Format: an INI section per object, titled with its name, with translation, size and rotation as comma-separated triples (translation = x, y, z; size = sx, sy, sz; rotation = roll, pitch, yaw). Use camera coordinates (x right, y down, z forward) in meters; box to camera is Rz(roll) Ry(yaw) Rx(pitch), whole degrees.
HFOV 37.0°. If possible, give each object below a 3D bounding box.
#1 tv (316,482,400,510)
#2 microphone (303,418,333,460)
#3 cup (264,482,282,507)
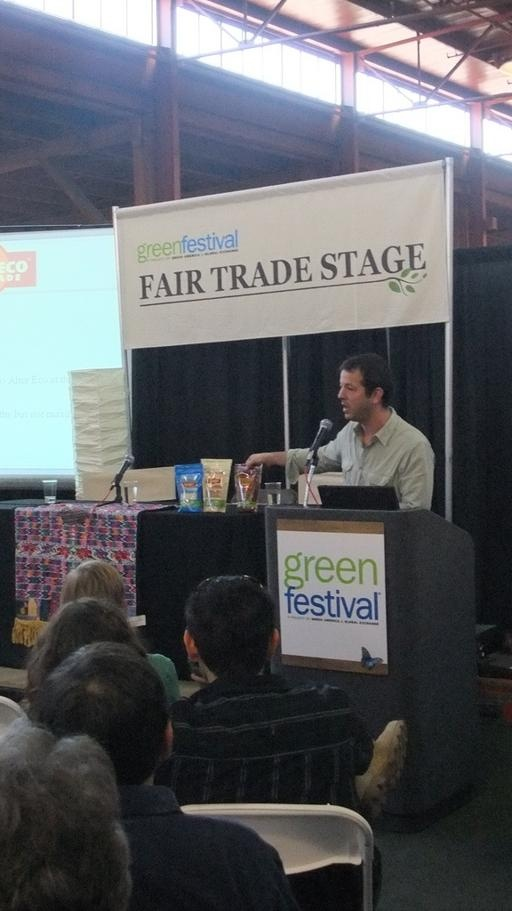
[tv]
translation = 0.294, 0.126, 2.314
size = 0.258, 0.076, 0.071
rotation = -2, 5, 35
[microphone]
translation = 0.302, -0.085, 3.786
size = 0.089, 0.065, 0.313
rotation = 29, 30, -6
[cup]
translation = 0.057, 0.155, 3.043
size = 0.074, 0.093, 0.077
rotation = -1, 3, 0
